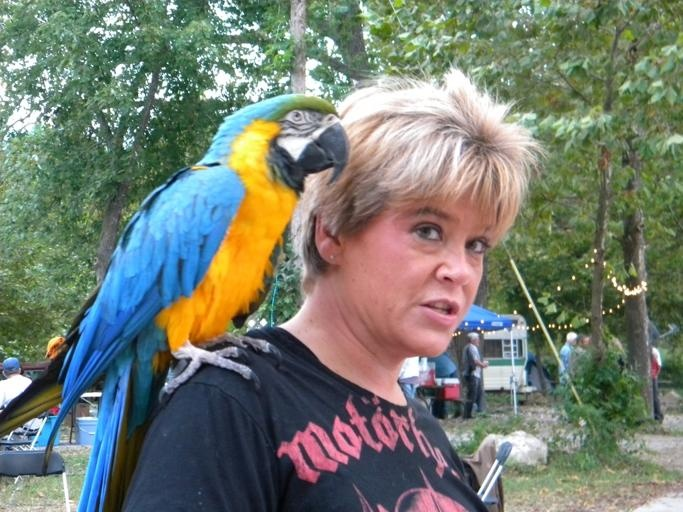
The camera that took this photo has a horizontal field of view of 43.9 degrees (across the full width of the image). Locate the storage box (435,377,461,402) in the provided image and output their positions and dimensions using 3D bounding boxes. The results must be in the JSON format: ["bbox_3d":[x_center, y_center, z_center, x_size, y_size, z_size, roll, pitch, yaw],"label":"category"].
[{"bbox_3d":[1.958,2.426,15.470,0.384,0.428,0.390,2,-7,-25],"label":"storage box"}]
